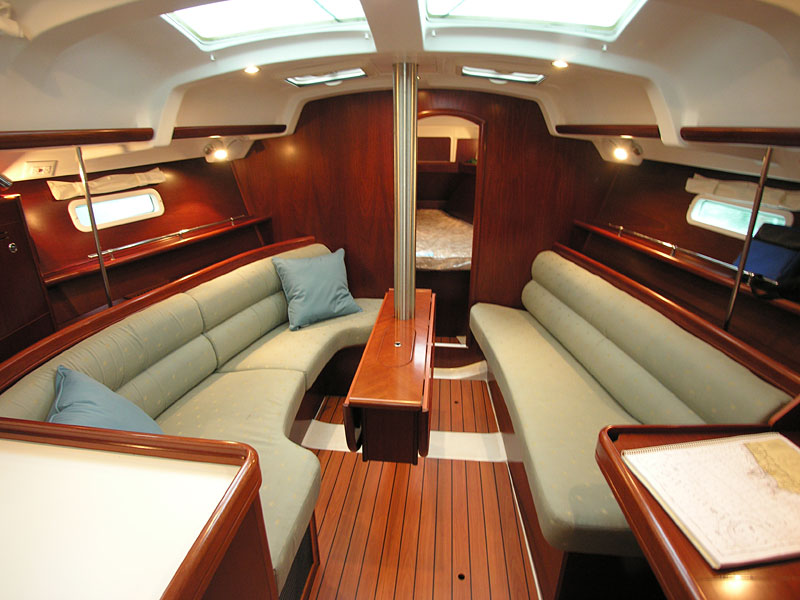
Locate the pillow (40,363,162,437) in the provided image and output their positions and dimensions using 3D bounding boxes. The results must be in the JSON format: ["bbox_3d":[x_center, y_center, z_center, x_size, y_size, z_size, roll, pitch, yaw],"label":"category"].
[{"bbox_3d":[-1.326,0.461,2.372,0.437,0.129,0.440,55,9,29],"label":"pillow"}]

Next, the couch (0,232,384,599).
[{"bbox_3d":[-1.007,0.392,3.109,1.117,0.929,2.471,8,31,3],"label":"couch"}]

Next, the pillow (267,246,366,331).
[{"bbox_3d":[-0.580,-0.075,3.963,0.562,0.506,0.287,-13,15,-32],"label":"pillow"}]
